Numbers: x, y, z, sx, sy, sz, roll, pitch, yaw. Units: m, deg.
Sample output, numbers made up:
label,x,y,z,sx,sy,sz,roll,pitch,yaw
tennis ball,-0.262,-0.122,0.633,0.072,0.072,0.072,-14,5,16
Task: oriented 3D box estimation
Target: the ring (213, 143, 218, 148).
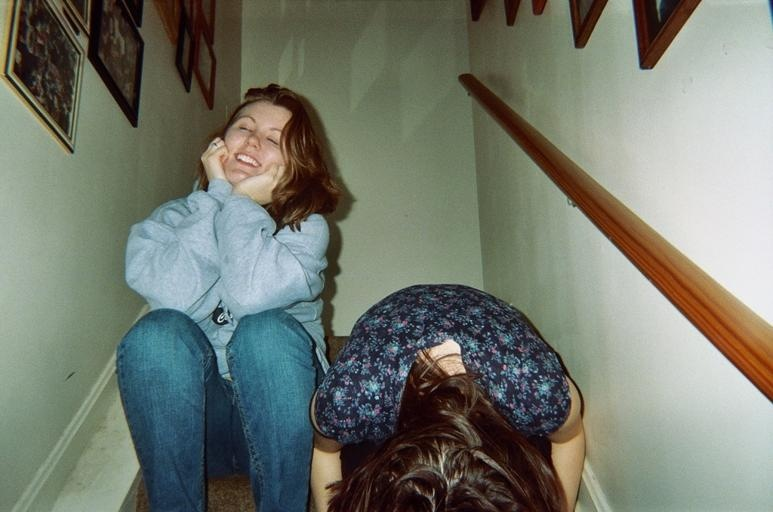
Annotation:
label,x,y,z,sx,sy,sz,roll,pitch,yaw
ring,-0.591,-0.379,1.975,0.015,0.006,0.011,20,24,27
